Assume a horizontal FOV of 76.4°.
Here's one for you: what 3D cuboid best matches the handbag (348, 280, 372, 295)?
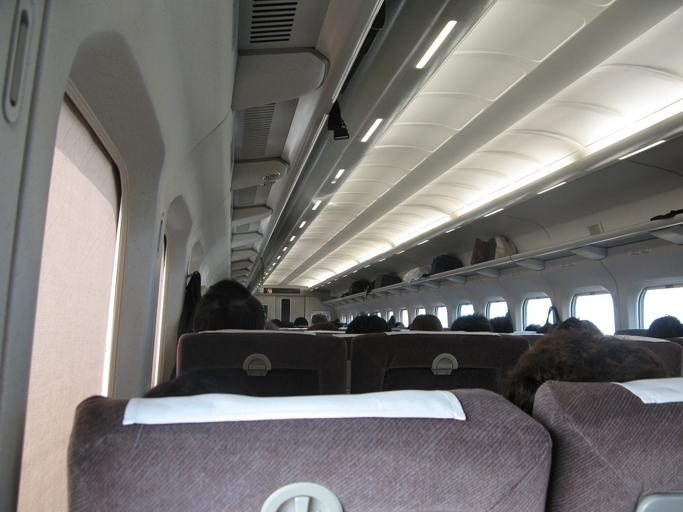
[{"bbox_3d":[0.858,1.504,20.859,0.811,0.547,0.799,9,-15,-28],"label":"handbag"}]

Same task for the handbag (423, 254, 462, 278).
[{"bbox_3d":[2.749,0.313,11.531,0.609,0.378,0.605,3,-13,-20],"label":"handbag"}]

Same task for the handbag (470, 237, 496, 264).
[{"bbox_3d":[3.094,-0.117,9.472,0.455,0.711,0.543,4,0,-20],"label":"handbag"}]

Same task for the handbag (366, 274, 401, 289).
[{"bbox_3d":[1.925,1.005,16.903,0.678,0.379,0.894,0,-10,-14],"label":"handbag"}]
